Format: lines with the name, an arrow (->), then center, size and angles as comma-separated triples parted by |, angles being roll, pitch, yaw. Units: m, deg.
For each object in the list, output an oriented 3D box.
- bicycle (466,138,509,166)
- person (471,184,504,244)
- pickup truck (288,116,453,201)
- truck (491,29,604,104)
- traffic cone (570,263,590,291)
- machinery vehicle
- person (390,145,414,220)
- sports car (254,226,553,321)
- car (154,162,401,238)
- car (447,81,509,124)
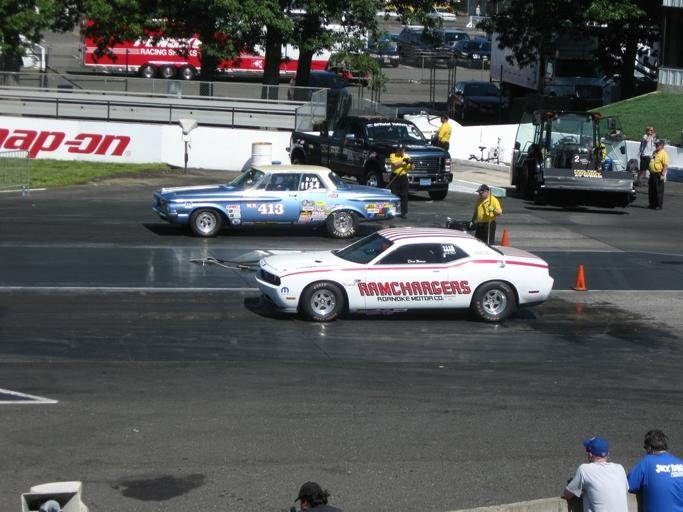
bicycle -> 5.733, -3.918, 43.998 | 1.758, 1.037, 0.860 | -4, 11, -4
person -> 3.341, -0.678, 26.249 | 0.604, 1.817, 0.939 | -1, 4, -33
pickup truck -> 0.795, -3.202, 35.885 | 2.769, 2.017, 6.087 | -5, 13, -31
truck -> 9.159, -8.880, 53.782 | 2.524, 3.354, 7.005 | -5, 13, -22
traffic cone -> 5.386, 0.539, 25.815 | 0.352, 0.577, 0.346 | -14, 24, -25
machinery vehicle -> 6.744, -2.880, 34.078 | 2.291, 1.801, 3.751 | 2, 9, -3
person -> 1.604, -2.016, 30.951 | 0.597, 1.684, 0.594 | 0, -6, 5
sports car -> 1.250, 0.409, 23.911 | 5.849, 1.584, 2.436 | -1, 9, -10
car -> -1.381, -1.325, 29.324 | 4.326, 1.210, 2.897 | -9, 19, -31
car -> 6.198, -6.799, 50.939 | 2.620, 1.804, 4.877 | -1, 9, -3
